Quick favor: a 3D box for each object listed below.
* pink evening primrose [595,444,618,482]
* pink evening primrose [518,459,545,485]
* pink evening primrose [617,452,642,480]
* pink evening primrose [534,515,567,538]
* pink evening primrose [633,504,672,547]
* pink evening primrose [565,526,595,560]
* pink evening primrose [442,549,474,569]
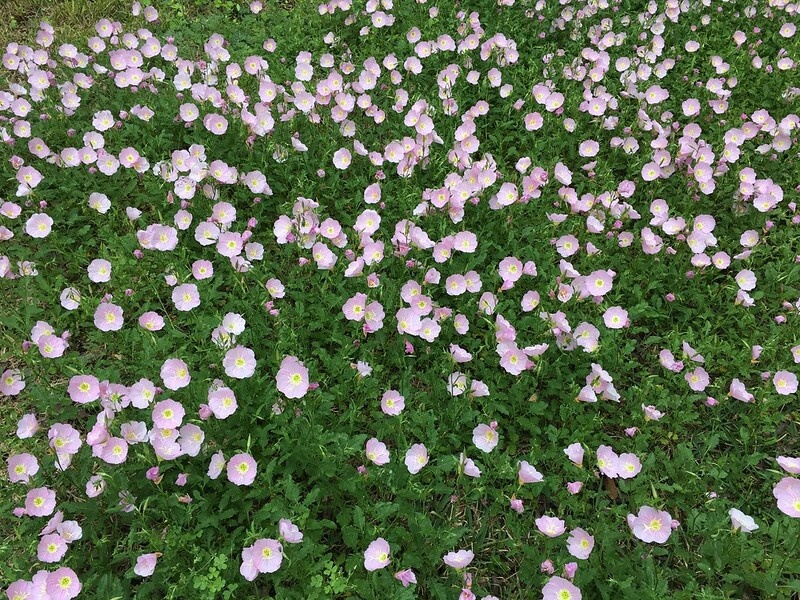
[{"bbox_3d":[1.298,1.016,4.112,0.162,0.073,0.185,-2,84,-31],"label":"pink evening primrose"},{"bbox_3d":[0.791,1.059,4.014,0.135,0.119,0.129,-2,76,-1],"label":"pink evening primrose"},{"bbox_3d":[1.439,1.048,4.121,0.172,0.126,0.154,-2,76,-1],"label":"pink evening primrose"},{"bbox_3d":[0.901,1.338,3.873,0.124,0.059,0.136,4,41,5],"label":"pink evening primrose"},{"bbox_3d":[1.490,1.332,3.866,0.186,0.087,0.221,-11,38,17],"label":"pink evening primrose"},{"bbox_3d":[1.052,1.433,3.847,0.140,0.059,0.151,31,78,6],"label":"pink evening primrose"},{"bbox_3d":[0.344,1.489,3.758,0.134,0.143,0.066,-6,90,-1],"label":"pink evening primrose"}]
